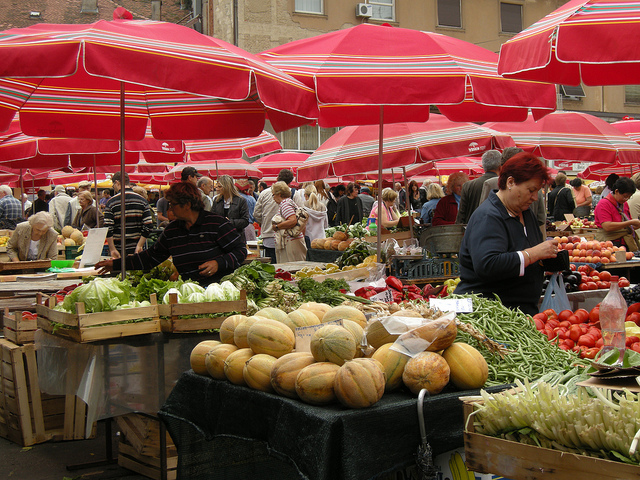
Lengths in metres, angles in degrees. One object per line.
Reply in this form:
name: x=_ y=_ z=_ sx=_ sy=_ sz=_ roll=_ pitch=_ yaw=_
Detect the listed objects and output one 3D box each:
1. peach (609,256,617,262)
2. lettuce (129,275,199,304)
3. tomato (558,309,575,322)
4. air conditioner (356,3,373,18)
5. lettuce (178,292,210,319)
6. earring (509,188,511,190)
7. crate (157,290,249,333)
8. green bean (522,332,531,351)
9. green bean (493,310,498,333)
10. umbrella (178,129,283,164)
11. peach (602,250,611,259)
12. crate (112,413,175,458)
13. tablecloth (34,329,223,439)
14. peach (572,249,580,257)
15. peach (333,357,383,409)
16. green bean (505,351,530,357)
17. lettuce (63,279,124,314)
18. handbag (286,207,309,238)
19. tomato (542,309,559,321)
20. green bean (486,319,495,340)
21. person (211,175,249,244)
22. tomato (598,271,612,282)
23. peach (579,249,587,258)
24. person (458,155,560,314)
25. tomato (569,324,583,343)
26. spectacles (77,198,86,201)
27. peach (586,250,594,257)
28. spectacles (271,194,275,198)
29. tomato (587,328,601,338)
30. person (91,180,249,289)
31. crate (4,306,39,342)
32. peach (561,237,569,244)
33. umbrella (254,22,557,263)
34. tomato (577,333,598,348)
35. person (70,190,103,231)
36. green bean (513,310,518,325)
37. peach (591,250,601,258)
peach: x=4.093 y=0.281 z=7.967 sx=0.065 sy=0.067 sz=0.075 roll=-7 pitch=11 yaw=-37
lettuce: x=-1.403 y=0.417 z=4.951 sx=0.460 sy=0.204 sz=0.330 roll=1 pitch=3 yaw=-19
tomato: x=2.114 y=0.643 z=4.893 sx=0.102 sy=0.106 sz=0.099 roll=0 pitch=-3 yaw=14
air conditioner: x=1.859 y=-9.363 z=23.872 sx=0.626 sy=0.597 sz=0.538 roll=-1 pitch=-2 yaw=1
lettuce: x=-0.984 y=0.514 z=4.462 sx=0.188 sy=0.122 sz=0.191 roll=0 pitch=-6 yaw=1
earring: x=1.411 y=-0.362 z=4.236 sx=0.018 sy=0.020 sz=0.018 roll=-2 pitch=-2 yaw=-1
crate: x=-0.942 y=0.569 z=4.683 sx=0.664 sy=0.253 sz=0.699 roll=4 pitch=-16 yaw=-5
green bean: x=1.255 y=0.619 z=3.473 sx=0.020 sy=0.089 sz=0.013 roll=10 pitch=-48 yaw=-41
green bean: x=1.100 y=0.531 z=3.574 sx=0.019 sy=0.085 sz=0.080 roll=-2 pitch=-37 yaw=22
umbrella: x=-1.611 y=-1.624 z=10.646 sx=1.283 sy=0.447 sz=1.349 roll=-2 pitch=5 yaw=10
peach: x=4.013 y=0.212 z=8.007 sx=0.077 sy=0.107 sz=0.083 roll=-18 pitch=19 yaw=37
crate: x=-1.474 y=1.570 z=4.702 sx=0.612 sy=0.373 sz=0.261 roll=7 pitch=21 yaw=37
tablecloth: x=-1.521 y=0.749 z=4.681 sx=1.059 sy=1.209 sz=0.937 roll=0 pitch=3 yaw=35
peach: x=3.654 y=0.209 z=8.166 sx=0.086 sy=0.108 sz=0.089 roll=-1 pitch=1 yaw=3
peach: x=0.188 y=0.684 z=2.735 sx=0.240 sy=0.215 sz=0.133 roll=-1 pitch=-2 yaw=-7
green bean: x=1.142 y=0.656 z=3.307 sx=0.164 sy=0.019 sz=0.024 roll=16 pitch=-9 yaw=-21
lettuce: x=-1.750 y=0.406 z=4.421 sx=0.398 sy=0.249 sz=0.378 roll=-1 pitch=5 yaw=-35
handbag: x=-0.330 y=-0.277 z=9.855 sx=0.172 sy=0.475 sz=0.343 roll=16 pitch=-11 yaw=-21
tomato: x=1.947 y=0.624 z=4.809 sx=0.099 sy=0.100 sz=0.102 roll=17 pitch=18 yaw=19
green bean: x=1.053 y=0.543 z=3.523 sx=0.019 sy=0.081 sz=0.010 roll=17 pitch=-54 yaw=-39
person: x=-1.641 y=-0.410 z=10.351 sx=0.788 sy=1.274 sz=0.610 roll=0 pitch=4 yaw=2
tomato: x=3.467 y=0.462 z=6.967 sx=0.124 sy=0.108 sz=0.170 roll=-2 pitch=-2 yaw=33
peach: x=3.735 y=0.216 z=8.121 sx=0.082 sy=0.103 sz=0.084 roll=-1 pitch=1 yaw=7
person: x=1.433 y=-0.002 z=4.374 sx=0.694 sy=1.158 sz=0.559 roll=-1 pitch=-2 yaw=10
tomato: x=1.978 y=0.724 z=4.428 sx=0.115 sy=0.119 sz=0.112 roll=-2 pitch=0 yaw=6
spectacles: x=-5.096 y=-0.827 z=12.278 sx=0.090 sy=0.042 sz=0.104 roll=-2 pitch=-10 yaw=5
peach: x=3.821 y=0.206 z=8.097 sx=0.078 sy=0.086 sz=0.081 roll=10 pitch=-15 yaw=-39
spectacles: x=-0.835 y=-0.764 z=10.312 sx=0.065 sy=0.068 sz=0.062 roll=-8 pitch=-25 yaw=9
tomato: x=2.135 y=0.711 z=4.443 sx=0.072 sy=0.063 sz=0.062 roll=-6 pitch=35 yaw=29
person: x=-1.227 y=-0.027 z=5.423 sx=1.046 sy=0.965 sz=0.471 roll=-1 pitch=-2 yaw=-8
crate: x=-2.811 y=0.759 z=5.379 sx=0.333 sy=0.209 sz=0.331 roll=3 pitch=-3 yaw=-30
peach: x=3.748 y=0.023 z=8.752 sx=0.073 sy=0.091 sz=0.075 roll=-1 pitch=4 yaw=12
umbrella: x=0.779 y=-0.991 z=6.437 sx=2.603 sy=2.286 sz=2.573 roll=0 pitch=4 yaw=-2
tomato: x=2.033 y=0.753 z=4.331 sx=0.103 sy=0.100 sz=0.093 roll=-17 pitch=-12 yaw=-45
person: x=-5.163 y=-0.520 z=12.813 sx=0.769 sy=0.994 sz=0.549 roll=-5 pitch=-7 yaw=12
green bean: x=1.254 y=0.500 z=3.649 sx=0.013 sy=0.093 sz=0.013 roll=3 pitch=-42 yaw=39
peach: x=3.914 y=0.206 z=8.085 sx=0.102 sy=0.096 sz=0.091 roll=-10 pitch=16 yaw=10
